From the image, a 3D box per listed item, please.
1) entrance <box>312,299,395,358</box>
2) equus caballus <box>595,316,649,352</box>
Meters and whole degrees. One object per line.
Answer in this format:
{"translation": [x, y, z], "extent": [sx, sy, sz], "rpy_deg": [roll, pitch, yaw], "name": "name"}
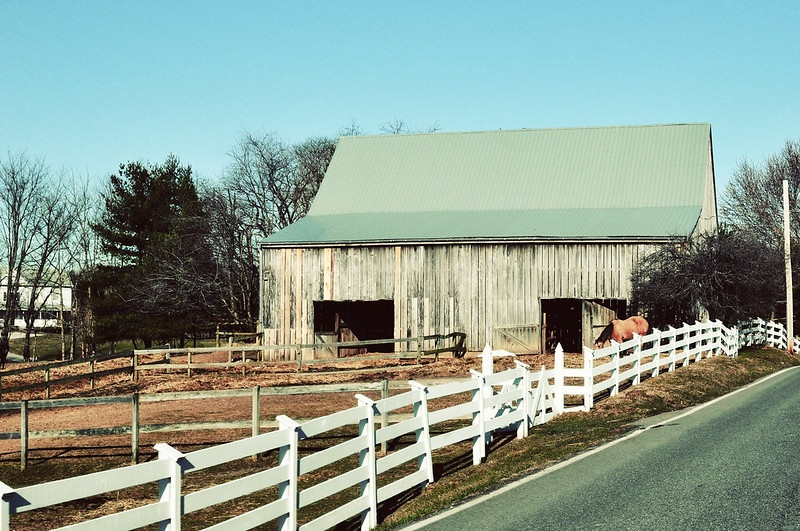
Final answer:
{"translation": [-1.847, 2.727, 41.414], "extent": [2.832, 2.004, 1.630], "rpy_deg": [-1, -2, 21], "name": "entrance"}
{"translation": [8.281, 2.555, 30.674], "extent": [2.220, 1.250, 0.662], "rpy_deg": [-20, 13, -15], "name": "equus caballus"}
